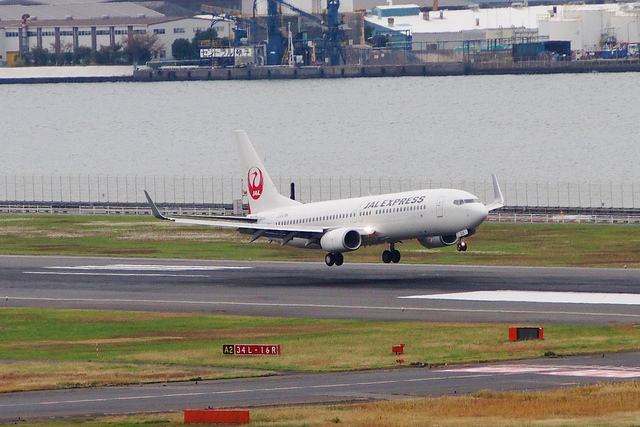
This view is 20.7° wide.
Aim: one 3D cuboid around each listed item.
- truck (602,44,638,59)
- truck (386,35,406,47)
[{"bbox_3d":[101.582,-54.601,589.041,10.332,3.579,5.918,-3,13,-6],"label":"truck"},{"bbox_3d":[26.645,-60.158,608.225,7.896,4.837,4.167,0,1,9],"label":"truck"}]
